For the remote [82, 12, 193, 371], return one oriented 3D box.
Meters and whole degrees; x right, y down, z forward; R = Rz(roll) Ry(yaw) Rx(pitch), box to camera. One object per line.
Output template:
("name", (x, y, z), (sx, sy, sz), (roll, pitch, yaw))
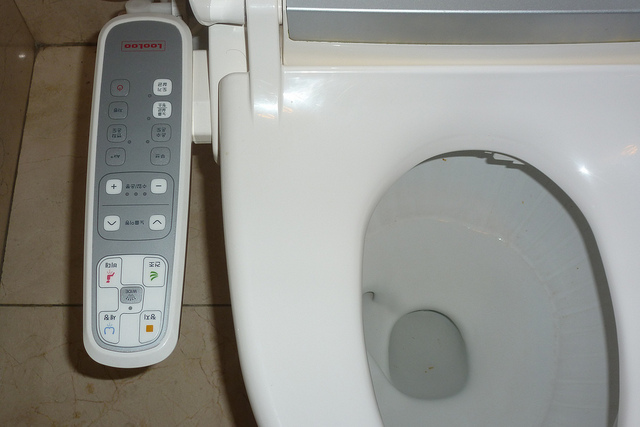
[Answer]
("remote", (-0.245, -0.022, 0.783), (0.124, 0.045, 0.482), (1, 90, -3))
